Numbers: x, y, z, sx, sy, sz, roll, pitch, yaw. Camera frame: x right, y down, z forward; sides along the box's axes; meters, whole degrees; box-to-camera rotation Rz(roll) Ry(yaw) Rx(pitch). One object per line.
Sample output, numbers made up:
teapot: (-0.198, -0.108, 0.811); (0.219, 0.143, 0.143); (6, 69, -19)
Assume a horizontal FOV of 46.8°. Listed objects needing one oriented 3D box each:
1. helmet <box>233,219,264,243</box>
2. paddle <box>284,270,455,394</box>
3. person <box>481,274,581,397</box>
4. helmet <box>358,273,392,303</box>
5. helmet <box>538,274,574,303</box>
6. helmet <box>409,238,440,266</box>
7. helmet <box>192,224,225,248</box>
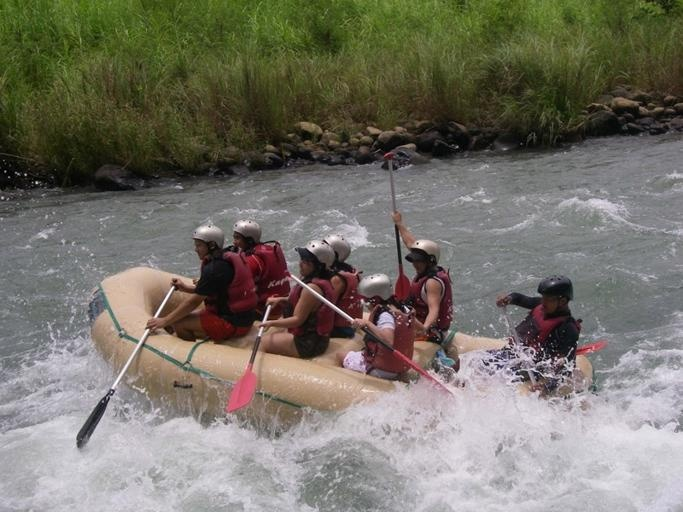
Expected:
helmet: (-1.220, -0.331, 10.300); (0.358, 0.263, 0.253); (1, 21, -16)
paddle: (0.298, 0.928, 9.223); (2.209, 0.065, 0.165); (37, 4, 14)
person: (2.297, 1.022, 9.530); (1.011, 1.163, 0.956); (2, 29, -27)
helmet: (0.375, 0.351, 9.018); (0.368, 0.263, 0.251); (-14, 26, 2)
helmet: (2.447, 0.373, 9.051); (0.354, 0.205, 0.258); (-4, 16, -23)
helmet: (1.001, -0.060, 9.646); (0.389, 0.202, 0.249); (3, 2, -30)
helmet: (-1.634, -0.246, 9.829); (0.367, 0.295, 0.258); (-12, 25, -20)
